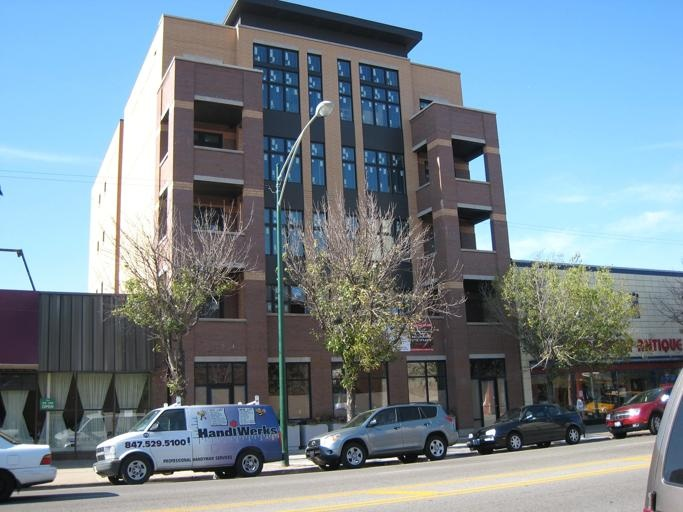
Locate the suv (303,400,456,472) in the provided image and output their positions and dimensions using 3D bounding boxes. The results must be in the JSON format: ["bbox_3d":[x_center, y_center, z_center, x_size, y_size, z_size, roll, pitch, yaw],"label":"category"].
[{"bbox_3d":[1.240,6.388,22.938,4.735,1.983,2.255,6,-22,-26],"label":"suv"}]

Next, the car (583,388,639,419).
[{"bbox_3d":[14.574,8.017,35.909,2.798,1.061,1.689,14,-24,-36],"label":"car"}]

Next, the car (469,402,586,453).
[{"bbox_3d":[7.155,6.976,25.597,4.262,1.685,1.980,5,-21,-25],"label":"car"}]
